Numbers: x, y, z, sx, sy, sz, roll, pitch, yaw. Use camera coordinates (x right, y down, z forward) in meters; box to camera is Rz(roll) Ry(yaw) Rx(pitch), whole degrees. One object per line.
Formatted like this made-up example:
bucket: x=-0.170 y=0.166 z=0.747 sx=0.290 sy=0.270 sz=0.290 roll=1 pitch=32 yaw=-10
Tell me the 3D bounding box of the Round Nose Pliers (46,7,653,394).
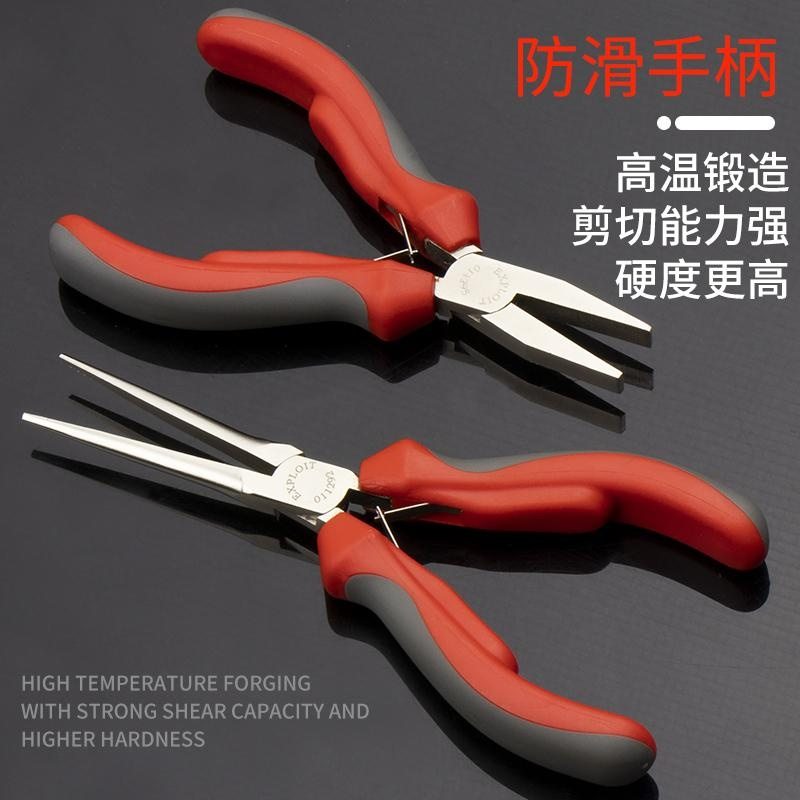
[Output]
Round Nose Pliers: x=-0.031 y=-0.256 z=1.291 sx=0.657 sy=0.373 sz=0.450 roll=3 pitch=24 yaw=14
